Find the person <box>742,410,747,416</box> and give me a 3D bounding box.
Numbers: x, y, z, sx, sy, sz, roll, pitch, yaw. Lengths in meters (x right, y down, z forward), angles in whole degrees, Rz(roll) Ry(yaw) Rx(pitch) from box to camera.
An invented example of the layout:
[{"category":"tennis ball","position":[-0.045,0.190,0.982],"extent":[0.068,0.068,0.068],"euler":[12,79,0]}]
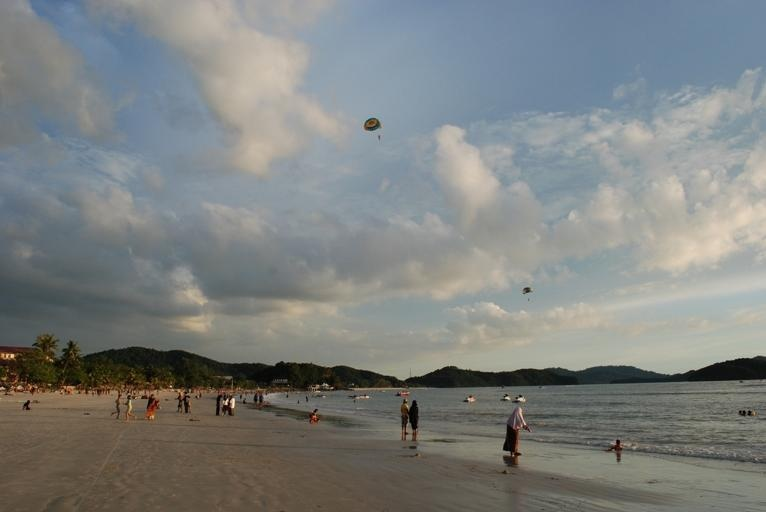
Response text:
[{"category":"person","position":[54.927,23.748,74.412],"extent":[0.711,0.789,2.602],"euler":[-13,-25,33]}]
